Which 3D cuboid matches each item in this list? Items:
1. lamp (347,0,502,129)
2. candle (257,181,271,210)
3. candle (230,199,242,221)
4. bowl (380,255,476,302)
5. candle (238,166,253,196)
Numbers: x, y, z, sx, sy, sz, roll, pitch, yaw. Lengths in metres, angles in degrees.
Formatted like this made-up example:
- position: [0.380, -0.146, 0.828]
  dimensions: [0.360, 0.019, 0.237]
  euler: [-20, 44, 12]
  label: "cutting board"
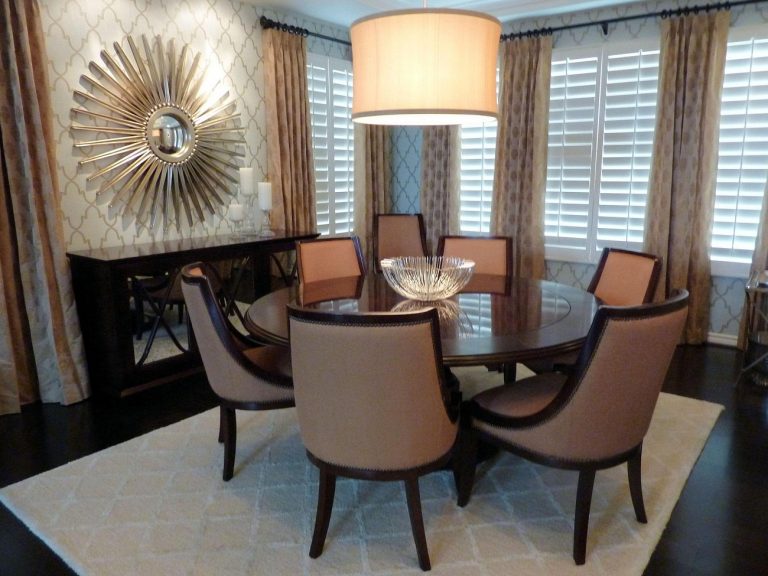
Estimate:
- position: [0.186, -0.986, 2.729]
  dimensions: [0.473, 0.345, 0.535]
  euler: [2, 16, 8]
  label: "lamp"
- position: [-0.915, -0.691, 4.596]
  dimensions: [0.097, 0.216, 0.153]
  euler: [-8, 15, -15]
  label: "candle"
- position: [-1.081, -0.577, 4.469]
  dimensions: [0.132, 0.181, 0.139]
  euler: [-4, 9, -25]
  label: "candle"
- position: [0.253, -0.076, 3.301]
  dimensions: [0.464, 0.257, 0.540]
  euler: [-3, 15, 9]
  label: "bowl"
- position: [-1.031, -0.793, 4.497]
  dimensions: [0.099, 0.196, 0.116]
  euler: [-9, 15, -19]
  label: "candle"
